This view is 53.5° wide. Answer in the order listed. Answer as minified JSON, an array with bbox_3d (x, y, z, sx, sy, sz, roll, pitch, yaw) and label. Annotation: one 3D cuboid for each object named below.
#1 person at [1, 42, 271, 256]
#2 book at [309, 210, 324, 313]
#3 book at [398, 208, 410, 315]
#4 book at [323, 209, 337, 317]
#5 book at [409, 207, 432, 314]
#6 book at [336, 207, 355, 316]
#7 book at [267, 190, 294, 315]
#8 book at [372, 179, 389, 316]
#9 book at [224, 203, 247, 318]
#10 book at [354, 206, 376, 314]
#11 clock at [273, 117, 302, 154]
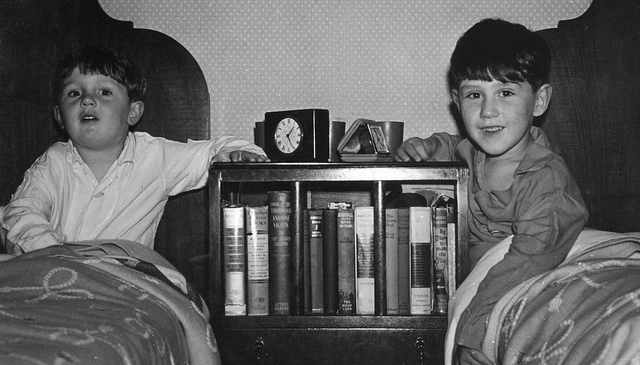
[{"bbox_3d":[-0.860,-0.123,2.794,0.932,0.833,0.469,6,-2,-7],"label":"person"},{"bbox_3d":[-0.014,0.323,2.623,0.056,0.416,0.039,0,-7,-6],"label":"book"},{"bbox_3d":[0.347,0.324,2.601,0.051,0.385,0.061,1,2,10],"label":"book"},{"bbox_3d":[0.044,0.329,2.609,0.057,0.429,0.038,0,-7,-2],"label":"book"},{"bbox_3d":[0.420,0.314,2.615,0.077,0.439,0.095,1,1,12],"label":"book"},{"bbox_3d":[0.106,0.323,2.607,0.078,0.420,0.049,0,-7,-1],"label":"book"},{"bbox_3d":[-0.161,0.288,2.593,0.108,0.495,0.061,0,-7,-5],"label":"book"},{"bbox_3d":[0.248,0.266,2.574,0.058,0.541,0.099,-1,-7,4],"label":"book"},{"bbox_3d":[-0.346,0.318,2.601,0.095,0.433,0.047,0,-7,-7],"label":"book"},{"bbox_3d":[0.184,0.318,2.599,0.078,0.427,0.049,0,-7,-1],"label":"book"},{"bbox_3d":[-0.131,-0.197,2.667,0.161,0.172,0.019,0,0,11],"label":"clock"}]
